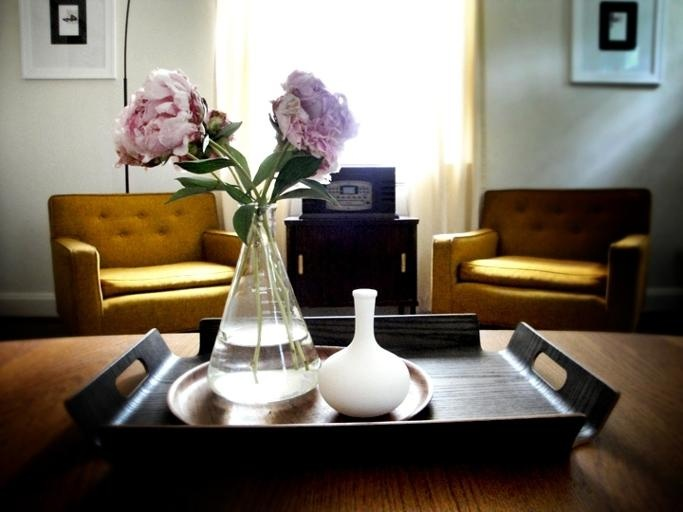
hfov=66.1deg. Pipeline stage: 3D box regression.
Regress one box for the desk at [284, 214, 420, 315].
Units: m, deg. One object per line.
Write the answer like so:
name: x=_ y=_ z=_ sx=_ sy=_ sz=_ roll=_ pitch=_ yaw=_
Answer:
desk: x=0.046 y=0.022 z=2.661 sx=0.658 sy=0.661 sz=0.434 roll=-1 pitch=1 yaw=-4

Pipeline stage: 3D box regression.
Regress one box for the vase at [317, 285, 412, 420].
vase: x=0.022 y=0.177 z=1.028 sx=0.198 sy=0.285 sz=0.201 roll=0 pitch=2 yaw=-7

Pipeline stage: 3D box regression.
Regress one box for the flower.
flower: x=-0.201 y=-0.095 z=1.060 sx=0.442 sy=0.511 sz=0.352 roll=-4 pitch=9 yaw=-4

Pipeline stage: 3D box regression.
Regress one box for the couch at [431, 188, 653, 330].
couch: x=1.076 y=0.046 z=2.700 sx=0.870 sy=0.703 sz=0.903 roll=1 pitch=1 yaw=25
